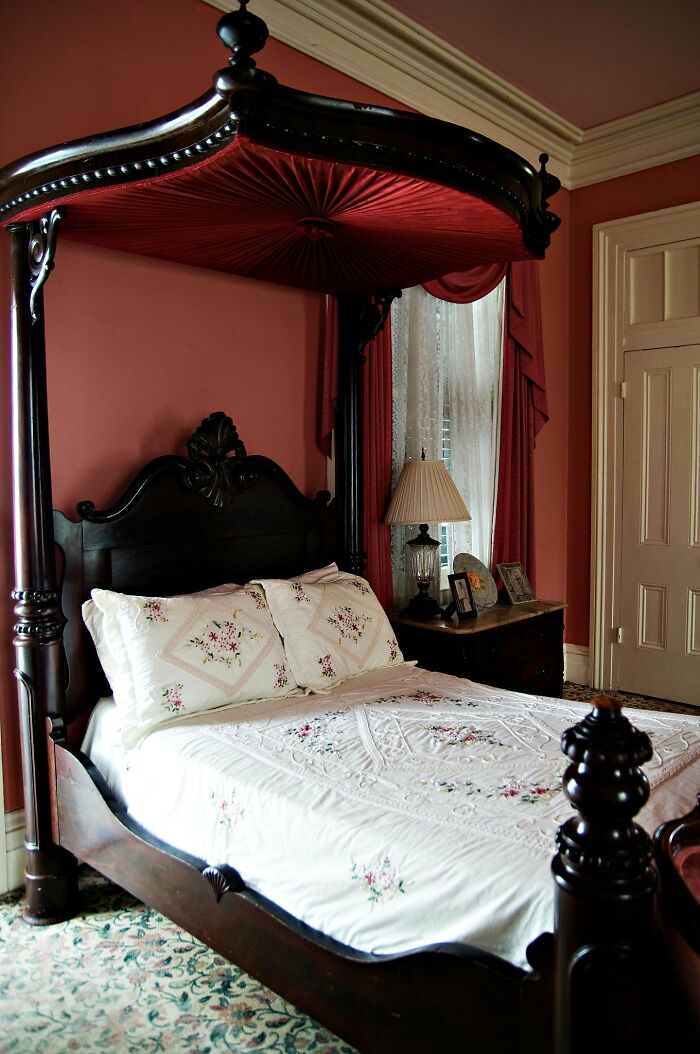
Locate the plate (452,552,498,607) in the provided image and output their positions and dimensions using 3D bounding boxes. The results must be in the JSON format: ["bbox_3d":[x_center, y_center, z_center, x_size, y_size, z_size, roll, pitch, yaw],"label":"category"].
[{"bbox_3d":[0.580,0.233,3.815,0.060,0.226,0.225,-25,-33,32],"label":"plate"}]

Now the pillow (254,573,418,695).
[{"bbox_3d":[-0.065,0.327,2.734,0.102,0.367,0.388,-39,-18,31],"label":"pillow"}]

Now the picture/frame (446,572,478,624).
[{"bbox_3d":[0.476,0.298,3.555,0.056,0.153,0.157,-12,-19,30],"label":"picture/frame"}]

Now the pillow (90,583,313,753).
[{"bbox_3d":[-0.463,0.361,2.350,0.481,0.427,0.126,-3,-25,-40],"label":"pillow"}]

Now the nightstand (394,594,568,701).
[{"bbox_3d":[0.551,0.415,3.583,0.431,0.668,0.730,0,3,31],"label":"nightstand"}]
